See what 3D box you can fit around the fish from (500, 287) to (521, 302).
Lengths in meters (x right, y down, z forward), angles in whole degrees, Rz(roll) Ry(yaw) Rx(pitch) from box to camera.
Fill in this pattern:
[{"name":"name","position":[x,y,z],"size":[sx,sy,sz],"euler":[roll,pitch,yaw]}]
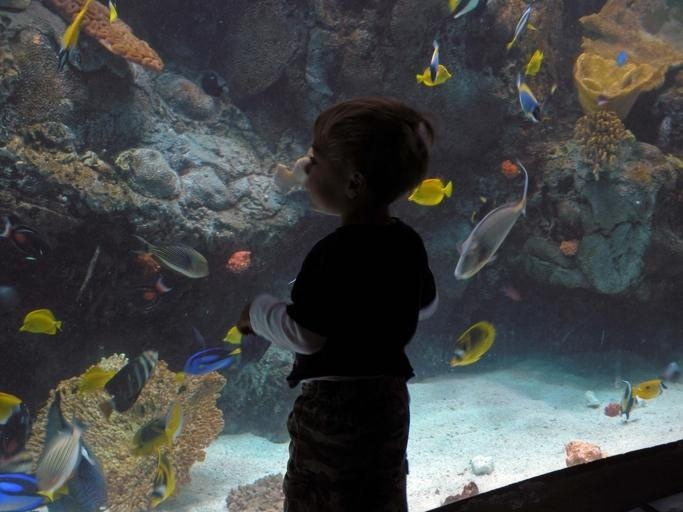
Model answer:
[{"name":"fish","position":[4.786,1.106,17.720],"size":[0.209,0.407,0.547],"euler":[-25,-25,17]}]

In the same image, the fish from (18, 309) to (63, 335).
[{"name":"fish","position":[-5.769,1.259,11.962],"size":[0.788,0.597,0.273],"euler":[15,-40,-26]}]
